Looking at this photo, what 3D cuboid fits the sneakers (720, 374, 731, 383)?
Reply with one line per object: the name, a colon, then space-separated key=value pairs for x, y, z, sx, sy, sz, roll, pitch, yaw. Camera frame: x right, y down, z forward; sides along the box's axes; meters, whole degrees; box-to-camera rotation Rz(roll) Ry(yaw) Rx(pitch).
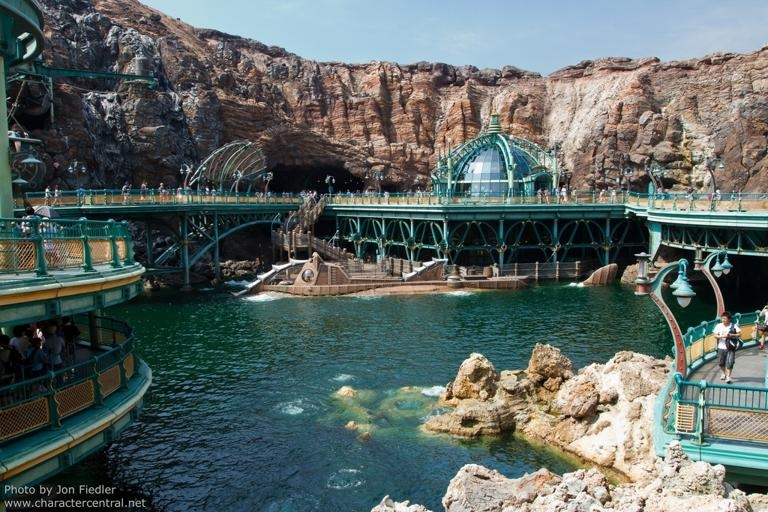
sneakers: x=14.566 y=5.198 z=28.285 sx=0.225 sy=0.248 sz=0.602 roll=1 pitch=8 yaw=12
